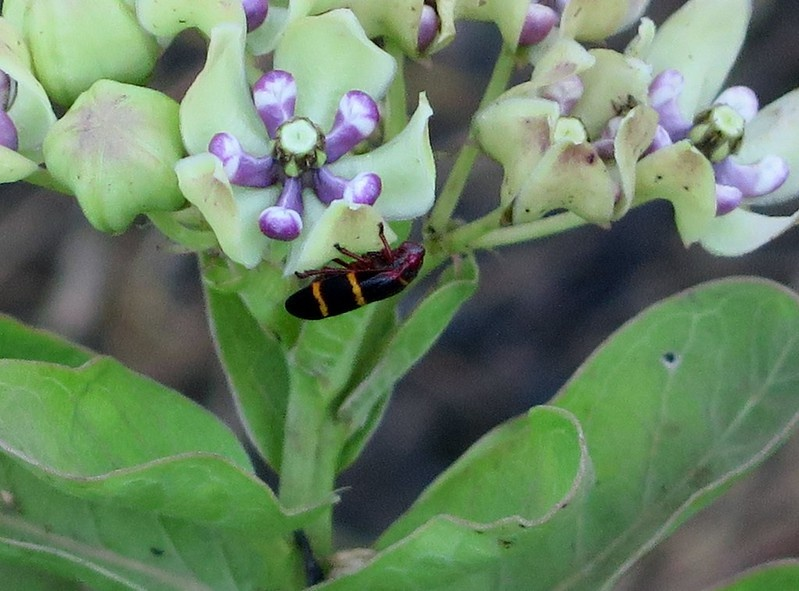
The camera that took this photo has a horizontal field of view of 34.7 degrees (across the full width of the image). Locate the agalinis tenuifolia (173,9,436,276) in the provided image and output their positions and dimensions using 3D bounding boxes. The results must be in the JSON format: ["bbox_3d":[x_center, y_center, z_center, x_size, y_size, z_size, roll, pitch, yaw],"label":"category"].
[{"bbox_3d":[-0.216,-0.324,3.123,0.574,0.312,0.652,-35,87,-6],"label":"agalinis tenuifolia"}]

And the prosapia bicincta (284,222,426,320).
[{"bbox_3d":[-0.123,-0.054,3.214,0.411,0.142,0.273,-23,9,-1],"label":"prosapia bicincta"}]

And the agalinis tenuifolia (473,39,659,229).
[{"bbox_3d":[0.388,-0.367,3.203,0.427,0.479,0.351,16,35,0],"label":"agalinis tenuifolia"}]
